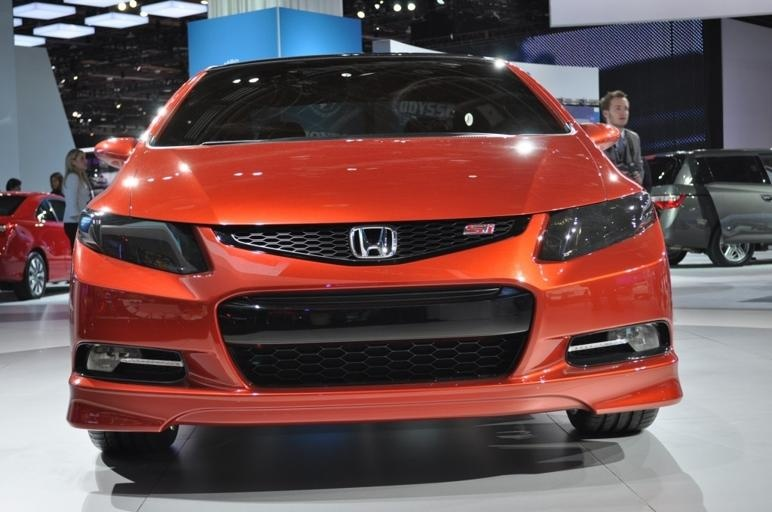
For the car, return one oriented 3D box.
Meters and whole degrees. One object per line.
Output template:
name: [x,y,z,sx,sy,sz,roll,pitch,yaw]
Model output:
car: [-0.073,-0.283,2.651,2.281,1.656,1.756,-2,4,1]
